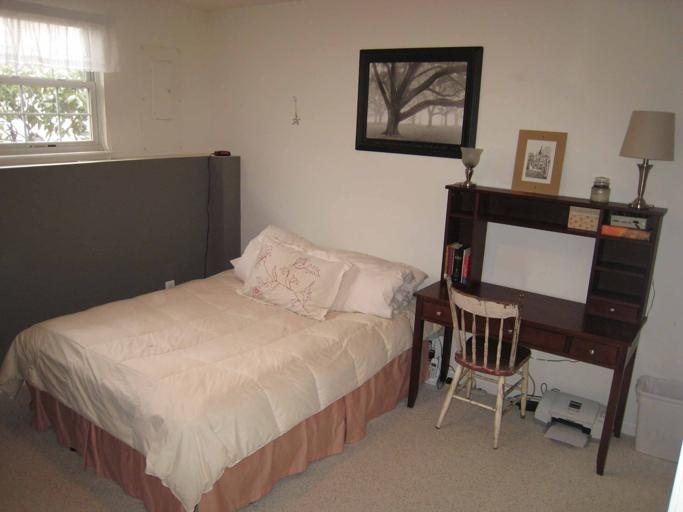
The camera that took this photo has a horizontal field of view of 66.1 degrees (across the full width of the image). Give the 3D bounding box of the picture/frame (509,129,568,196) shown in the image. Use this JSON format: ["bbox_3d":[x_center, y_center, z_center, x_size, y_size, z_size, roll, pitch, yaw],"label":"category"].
[{"bbox_3d":[1.367,-0.631,3.584,0.380,0.549,0.035,9,10,30],"label":"picture/frame"}]

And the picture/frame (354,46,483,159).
[{"bbox_3d":[0.617,-1.168,3.924,0.839,0.740,0.066,10,21,28],"label":"picture/frame"}]

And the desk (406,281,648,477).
[{"bbox_3d":[1.236,0.703,3.610,1.375,1.029,0.570,13,17,28],"label":"desk"}]

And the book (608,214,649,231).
[{"bbox_3d":[1.799,-0.211,3.273,0.205,0.076,0.065,11,17,23],"label":"book"}]

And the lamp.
[{"bbox_3d":[1.900,-0.598,3.260,0.290,0.590,0.284,13,18,31],"label":"lamp"}]

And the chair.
[{"bbox_3d":[0.997,0.739,3.604,0.660,1.335,0.655,12,27,36],"label":"chair"}]
